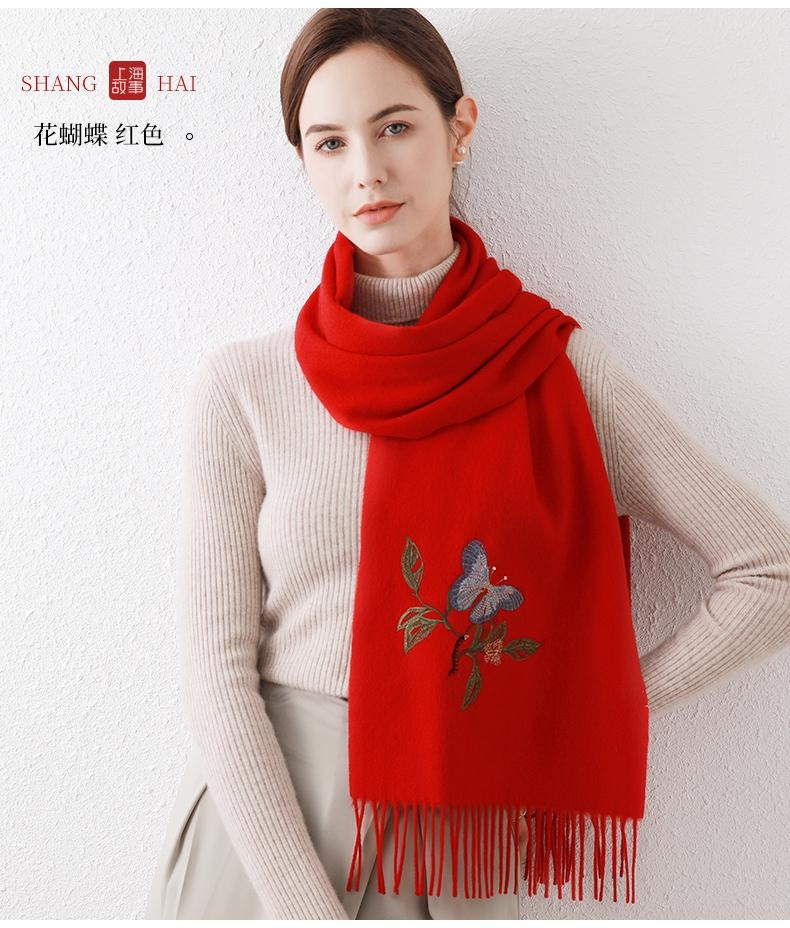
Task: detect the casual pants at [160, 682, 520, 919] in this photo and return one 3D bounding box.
[{"bbox_3d":[-0.098,0.450,1.211,0.451,0.309,0.153,0,15,17],"label":"casual pants"}]
